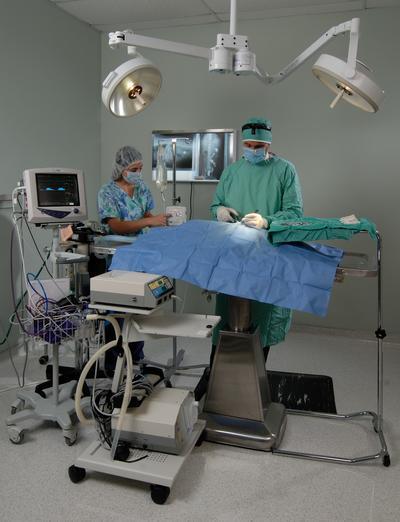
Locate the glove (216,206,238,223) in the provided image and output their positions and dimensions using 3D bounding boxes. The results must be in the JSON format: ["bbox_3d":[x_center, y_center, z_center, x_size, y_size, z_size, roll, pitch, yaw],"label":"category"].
[{"bbox_3d":[0.139,-0.238,2.448,0.111,0.042,0.080,16,6,0],"label":"glove"}]

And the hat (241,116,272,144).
[{"bbox_3d":[0.286,-0.657,2.393,0.139,0.097,0.136,5,26,8],"label":"hat"}]

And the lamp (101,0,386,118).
[{"bbox_3d":[0.152,-0.799,1.858,1.058,0.437,0.412,2,10,7],"label":"lamp"}]

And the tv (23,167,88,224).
[{"bbox_3d":[-0.754,-0.329,2.414,0.322,0.271,0.174,-9,12,-44],"label":"tv"}]

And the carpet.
[{"bbox_3d":[0.425,0.781,2.802,0.932,0.015,0.861,-6,-11,-20],"label":"carpet"}]

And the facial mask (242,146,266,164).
[{"bbox_3d":[0.287,-0.550,2.478,0.110,0.079,0.078,3,10,9],"label":"facial mask"}]

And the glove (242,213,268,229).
[{"bbox_3d":[0.250,-0.182,2.173,0.097,0.038,0.073,11,-6,35],"label":"glove"}]

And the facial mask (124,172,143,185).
[{"bbox_3d":[-0.397,-0.502,2.865,0.079,0.060,0.082,28,34,37],"label":"facial mask"}]

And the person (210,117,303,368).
[{"bbox_3d":[0.291,-0.073,2.446,0.461,1.287,0.663,1,11,1],"label":"person"}]
